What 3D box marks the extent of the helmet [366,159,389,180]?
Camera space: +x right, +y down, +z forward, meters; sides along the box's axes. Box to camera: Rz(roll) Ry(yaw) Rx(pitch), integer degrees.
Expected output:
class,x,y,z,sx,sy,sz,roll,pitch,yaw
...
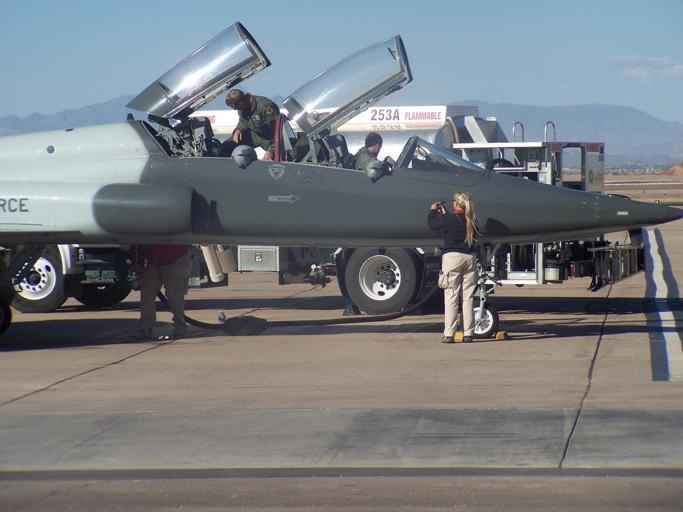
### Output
class,x,y,z,sx,sy,sz,roll,pitch,yaw
helmet,0.533,-1.232,12.458,0.386,0.295,0.216,-4,11,-15

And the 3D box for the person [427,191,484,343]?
class,x,y,z,sx,sy,sz,roll,pitch,yaw
person,1.561,0.172,12.199,0.635,2.117,0.242,-1,11,7

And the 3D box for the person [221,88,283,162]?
class,x,y,z,sx,sy,sz,roll,pitch,yaw
person,-1.417,-1.920,13.124,1.005,1.049,0.826,2,7,-7

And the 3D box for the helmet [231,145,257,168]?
class,x,y,z,sx,sy,sz,roll,pitch,yaw
helmet,-1.399,-1.447,12.653,0.365,0.311,0.334,-20,27,-40

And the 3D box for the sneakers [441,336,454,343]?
class,x,y,z,sx,sy,sz,roll,pitch,yaw
sneakers,1.503,1.174,12.401,0.072,0.077,0.161,0,-4,-16
